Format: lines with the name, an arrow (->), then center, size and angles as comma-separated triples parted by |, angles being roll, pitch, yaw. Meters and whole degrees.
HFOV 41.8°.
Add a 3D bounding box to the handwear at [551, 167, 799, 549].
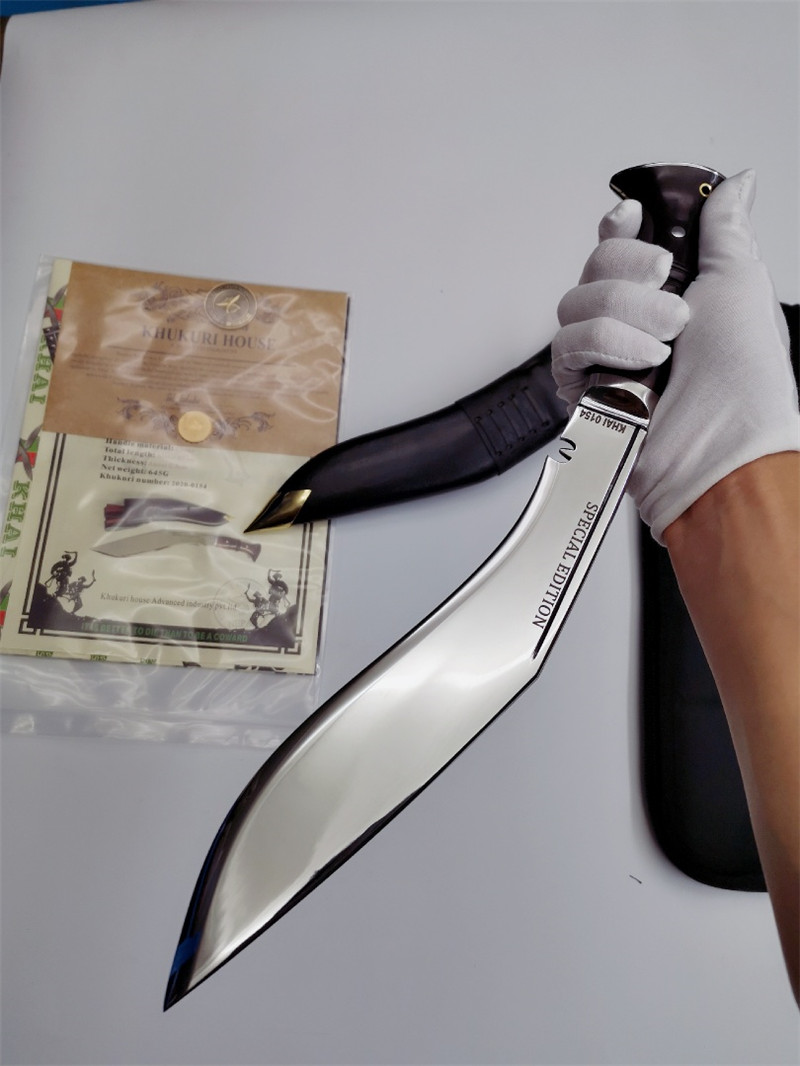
handwear -> 0.257, -0.151, 0.943 | 0.317, 0.086, 0.300 | -3, 77, 18
